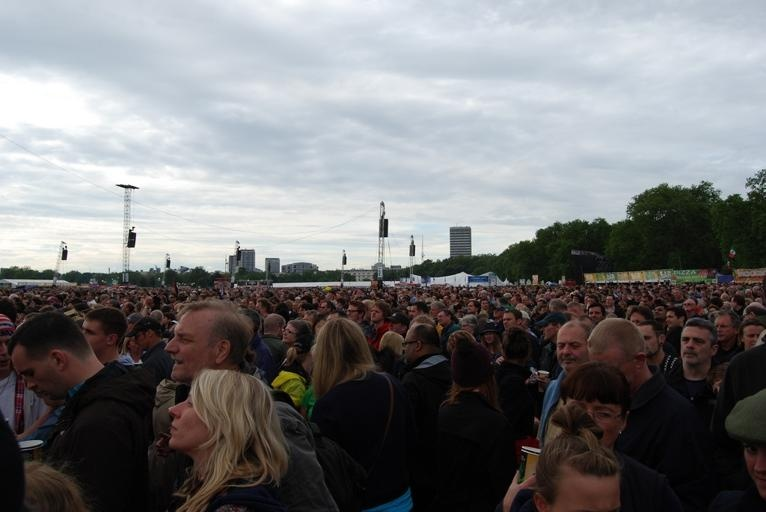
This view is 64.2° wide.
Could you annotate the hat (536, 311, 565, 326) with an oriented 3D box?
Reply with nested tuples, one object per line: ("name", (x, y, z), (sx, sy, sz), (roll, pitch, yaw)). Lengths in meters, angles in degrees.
("hat", (2.230, 0.840, 8.088), (0.311, 0.130, 0.188), (-1, -5, 6))

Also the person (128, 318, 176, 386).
("person", (-2.444, 1.012, 6.425), (0.448, 0.759, 0.558), (-16, -13, -8))

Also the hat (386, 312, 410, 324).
("hat", (0.244, 0.916, 8.996), (0.242, 0.109, 0.162), (14, -11, -21))

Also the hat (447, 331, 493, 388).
("hat", (0.787, 0.941, 5.619), (0.373, 0.344, 0.470), (-5, 21, 14))

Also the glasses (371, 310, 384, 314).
("glasses", (-0.070, 0.845, 9.316), (0.178, 0.069, 0.086), (1, -3, -6))

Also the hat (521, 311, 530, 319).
("hat", (2.575, 1.080, 11.035), (0.157, 0.108, 0.210), (8, 15, -16))

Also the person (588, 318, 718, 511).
("person", (2.106, 1.248, 4.743), (0.595, 1.483, 0.846), (6, -27, -20))

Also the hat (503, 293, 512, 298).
("hat", (3.559, 1.132, 17.503), (0.285, 0.088, 0.259), (0, 0, -24))

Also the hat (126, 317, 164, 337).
("hat", (-2.924, 0.870, 7.497), (0.374, 0.177, 0.238), (5, -7, -6))

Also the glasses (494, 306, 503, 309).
("glasses", (2.402, 1.077, 12.580), (0.196, 0.082, 0.248), (-3, -8, 27))
